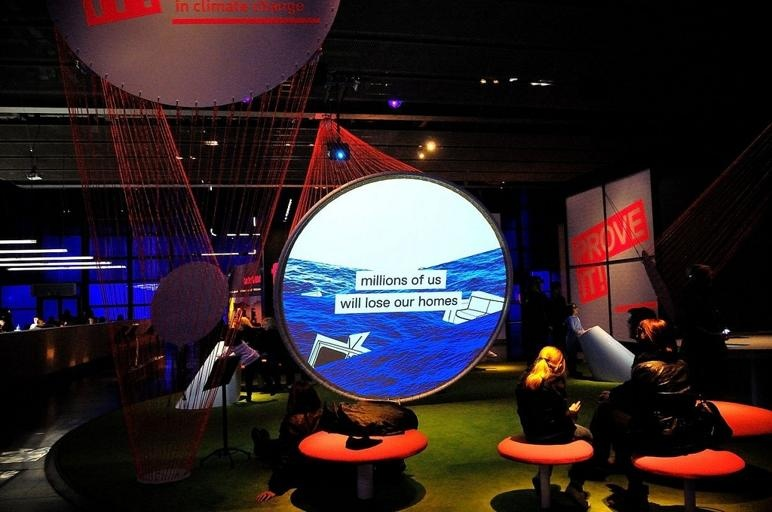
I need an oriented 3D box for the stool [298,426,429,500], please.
[{"bbox_3d":[-0.246,2.389,6.395,1.491,0.675,1.393,-1,-3,-14],"label":"stool"}]
